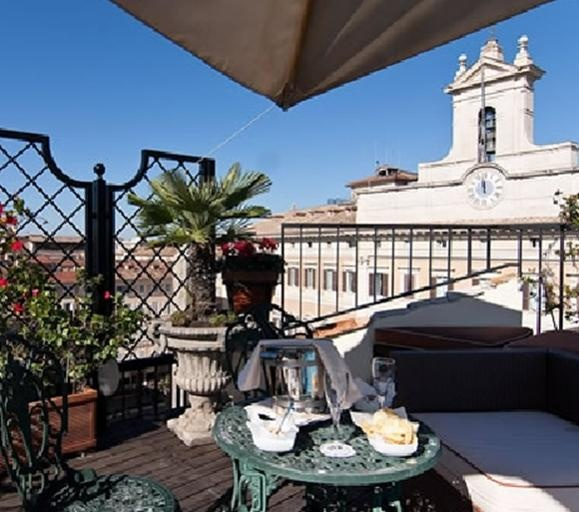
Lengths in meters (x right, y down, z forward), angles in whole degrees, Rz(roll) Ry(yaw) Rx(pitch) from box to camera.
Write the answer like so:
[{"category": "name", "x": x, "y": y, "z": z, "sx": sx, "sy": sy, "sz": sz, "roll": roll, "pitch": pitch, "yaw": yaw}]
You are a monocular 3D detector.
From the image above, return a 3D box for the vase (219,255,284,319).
[{"category": "vase", "x": -0.301, "y": 0.220, "z": 4.669, "sx": 0.409, "sy": 0.497, "sz": 0.359, "roll": 2, "pitch": 1, "yaw": -30}]

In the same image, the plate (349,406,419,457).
[{"category": "plate", "x": 0.424, "y": 0.768, "z": 2.744, "sx": 0.337, "sy": 0.184, "sz": 0.252, "roll": 2, "pitch": 1, "yaw": -8}]

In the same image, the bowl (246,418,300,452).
[{"category": "bowl", "x": -0.098, "y": 0.782, "z": 2.699, "sx": 0.292, "sy": 0.105, "sz": 0.255, "roll": 1, "pitch": 0, "yaw": -6}]
